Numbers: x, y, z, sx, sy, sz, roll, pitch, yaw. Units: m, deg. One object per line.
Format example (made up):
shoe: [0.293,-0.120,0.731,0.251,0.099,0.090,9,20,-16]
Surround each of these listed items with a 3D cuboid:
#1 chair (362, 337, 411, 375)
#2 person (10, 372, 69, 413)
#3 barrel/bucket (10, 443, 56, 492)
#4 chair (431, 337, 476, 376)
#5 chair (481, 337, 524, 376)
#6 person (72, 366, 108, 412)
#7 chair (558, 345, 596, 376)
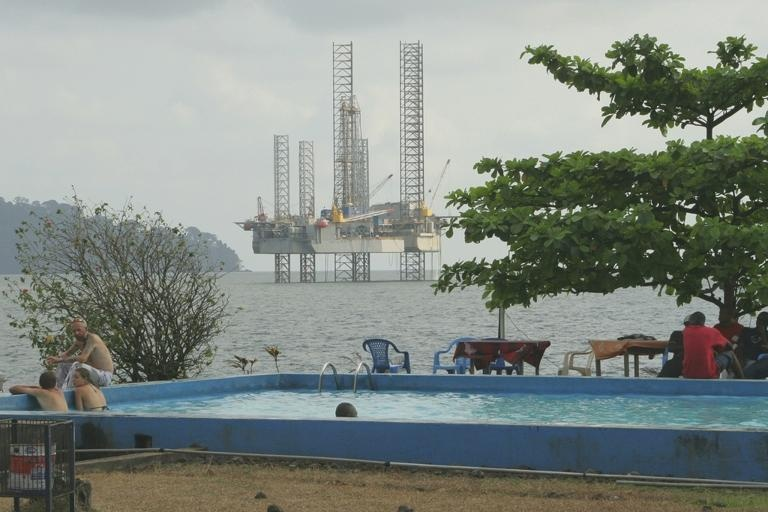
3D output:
chair: [0.134,2.311,38.732,0.972,1.090,0.985,-7,-8,35]
person: [-6.788,2.712,34.907,0.902,0.419,0.517,15,9,-39]
barrel/bucket: [-6.002,3.599,30.051,0.858,0.767,0.467,1,-3,-1]
chair: [1.660,2.351,38.866,1.032,1.132,0.973,3,-3,-27]
chair: [2.779,2.178,38.555,0.786,1.121,0.815,0,-11,10]
person: [-5.682,2.543,34.184,0.640,0.862,1.104,1,-6,-10]
chair: [4.812,2.574,43.392,1.015,1.250,0.956,2,-5,7]
